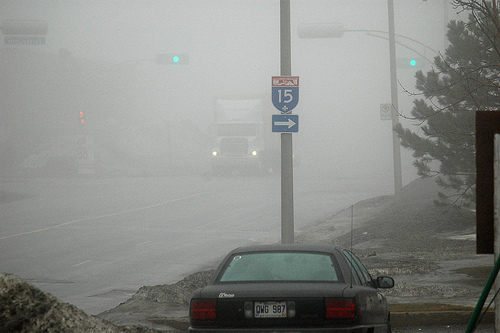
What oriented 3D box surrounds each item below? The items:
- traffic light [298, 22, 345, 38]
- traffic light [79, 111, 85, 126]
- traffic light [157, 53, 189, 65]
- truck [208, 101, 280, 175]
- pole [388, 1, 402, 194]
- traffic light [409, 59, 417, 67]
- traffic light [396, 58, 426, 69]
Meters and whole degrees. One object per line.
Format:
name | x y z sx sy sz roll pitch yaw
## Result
traffic light | 2.045 -3.930 19.875 1.581 0.516 0.468 1 1 1
traffic light | -4.705 -1.372 19.482 0.167 0.408 0.036 -1 4 -10
traffic light | -2.170 -3.043 19.712 0.785 0.310 0.103 2 5 -3
truck | -0.251 -0.717 21.099 1.610 2.477 3.573 0 -6 5
pole | 4.087 -1.981 19.624 0.233 5.379 0.549 -1 4 -18
traffic light | 4.607 -2.924 19.511 0.161 0.192 0.040 -2 6 -8
traffic light | 4.500 -2.929 19.594 0.769 0.305 0.037 -2 0 -3
